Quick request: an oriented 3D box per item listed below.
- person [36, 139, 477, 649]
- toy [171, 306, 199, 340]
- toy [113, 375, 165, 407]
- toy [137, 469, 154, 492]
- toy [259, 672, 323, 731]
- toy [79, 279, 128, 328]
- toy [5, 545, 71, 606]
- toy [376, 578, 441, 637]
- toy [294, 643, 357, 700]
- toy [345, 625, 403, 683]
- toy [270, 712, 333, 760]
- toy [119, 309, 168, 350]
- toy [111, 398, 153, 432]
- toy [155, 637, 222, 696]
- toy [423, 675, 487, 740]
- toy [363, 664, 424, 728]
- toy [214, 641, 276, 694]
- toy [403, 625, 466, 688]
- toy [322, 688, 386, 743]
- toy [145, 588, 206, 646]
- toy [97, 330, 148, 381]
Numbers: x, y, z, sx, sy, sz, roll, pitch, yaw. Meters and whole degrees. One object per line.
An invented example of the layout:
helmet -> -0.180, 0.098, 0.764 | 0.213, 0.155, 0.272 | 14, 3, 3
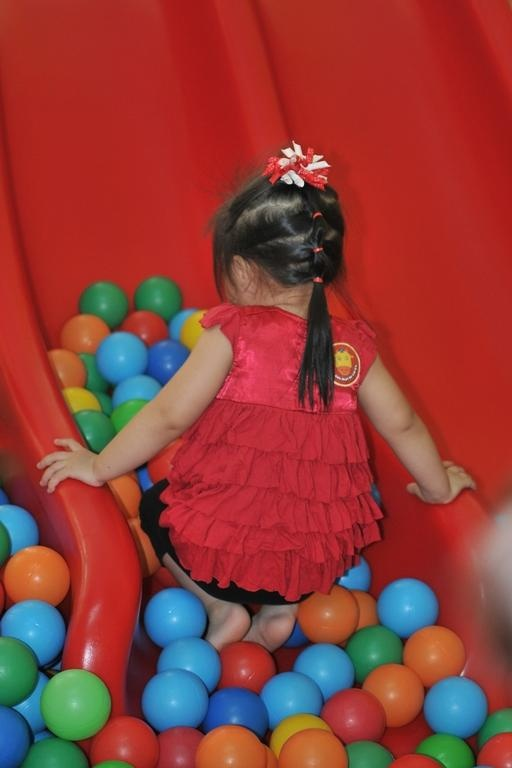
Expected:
person -> 0.003, 0.087, 1.311 | 0.751, 0.964, 0.431 | -26, 39, -25
toy -> -0.256, -0.203, 2.287 | 0.106, 0.112, 0.101 | -2, -17, 7
toy -> -0.354, 0.020, 1.986 | 0.130, 0.107, 0.141 | -2, -13, -26
toy -> -0.298, 0.255, 1.797 | 0.022, 0.060, 0.061 | 2, 34, -20
toy -> 0.063, 0.579, 1.248 | 0.104, 0.099, 0.110 | -22, 61, -1
toy -> -0.453, -0.267, 2.179 | 0.154, 0.161, 0.144 | -2, 21, 5
toy -> -0.401, 0.366, 1.333 | 0.121, 0.129, 0.107 | 5, 57, -6
toy -> 0.336, 0.490, 1.499 | 0.141, 0.146, 0.136 | -6, 5, 13
toy -> 0.137, 0.568, 1.348 | 0.103, 0.096, 0.108 | -1, 52, 4
toy -> 0.253, 0.581, 1.453 | 0.122, 0.127, 0.117 | 5, 1, 5
toy -> 0.075, 0.588, 1.162 | 0.087, 0.092, 0.082 | 5, -14, -3
toy -> -0.338, -0.183, 2.212 | 0.136, 0.143, 0.126 | 1, 31, 18
toy -> -0.286, 0.072, 1.552 | 0.060, 0.059, 0.069 | -28, 5, 4
toy -> -0.122, 0.519, 1.286 | 0.111, 0.101, 0.117 | 8, 35, -15
toy -> 0.374, 0.607, 1.270 | 0.116, 0.119, 0.110 | -2, 1, 11
toy -> 0.259, 0.576, 1.291 | 0.116, 0.118, 0.108 | 1, 1, 2
toy -> -0.016, 0.551, 1.333 | 0.096, 0.084, 0.104 | 3, 4, 13
toy -> 0.345, 0.528, 1.368 | 0.120, 0.107, 0.130 | -14, -10, -7
toy -> 0.173, 0.585, 1.188 | 0.103, 0.110, 0.091 | 1, 58, 3
toy -> -0.166, 0.475, 1.388 | 0.122, 0.126, 0.114 | 0, 21, 0
toy -> -0.385, -0.075, 2.078 | 0.157, 0.143, 0.163 | 5, 45, -5
